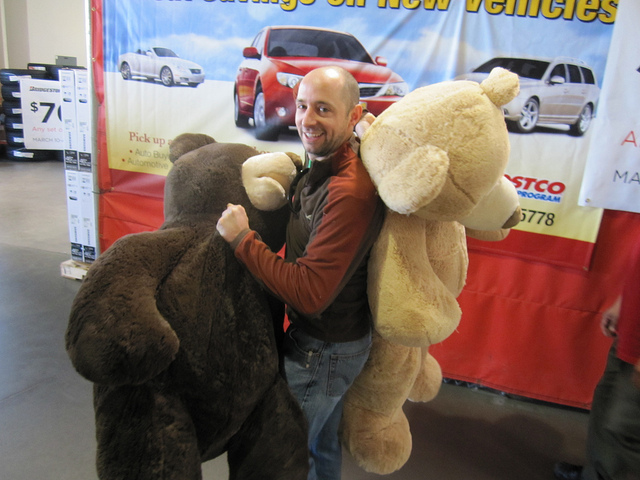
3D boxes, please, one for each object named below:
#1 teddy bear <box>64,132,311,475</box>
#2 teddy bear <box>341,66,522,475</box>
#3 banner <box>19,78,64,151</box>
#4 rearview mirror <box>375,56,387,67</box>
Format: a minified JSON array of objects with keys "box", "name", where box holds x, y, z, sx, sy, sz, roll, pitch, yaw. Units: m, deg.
[{"box":[-0.531,0.317,2.245,0.953,1.349,0.605,-2,17,-26],"name":"teddy bear"},{"box":[0.482,0.176,2.428,0.620,1.867,0.462,-5,18,-32],"name":"teddy bear"},{"box":[-5.089,-2.309,9.852,0.653,1.273,0.443,-4,17,-30],"name":"banner"},{"box":[0.431,-1.261,3.764,0.087,0.065,0.016,11,16,18],"name":"rearview mirror"}]
